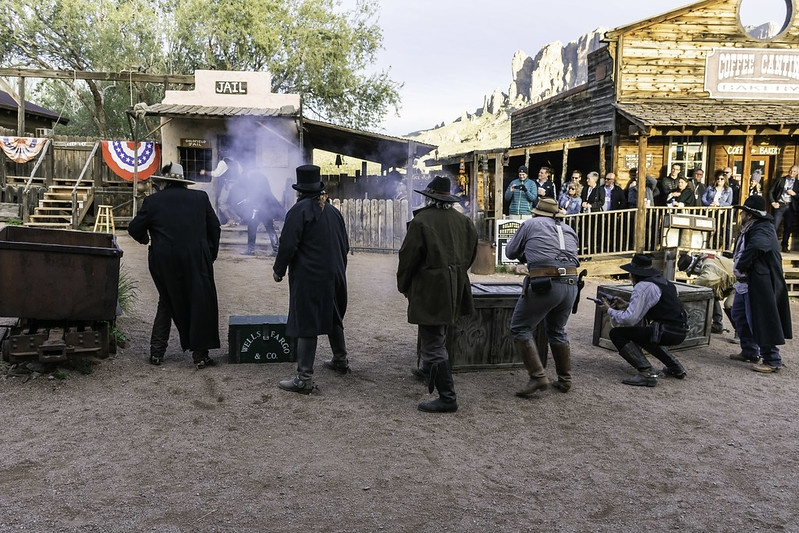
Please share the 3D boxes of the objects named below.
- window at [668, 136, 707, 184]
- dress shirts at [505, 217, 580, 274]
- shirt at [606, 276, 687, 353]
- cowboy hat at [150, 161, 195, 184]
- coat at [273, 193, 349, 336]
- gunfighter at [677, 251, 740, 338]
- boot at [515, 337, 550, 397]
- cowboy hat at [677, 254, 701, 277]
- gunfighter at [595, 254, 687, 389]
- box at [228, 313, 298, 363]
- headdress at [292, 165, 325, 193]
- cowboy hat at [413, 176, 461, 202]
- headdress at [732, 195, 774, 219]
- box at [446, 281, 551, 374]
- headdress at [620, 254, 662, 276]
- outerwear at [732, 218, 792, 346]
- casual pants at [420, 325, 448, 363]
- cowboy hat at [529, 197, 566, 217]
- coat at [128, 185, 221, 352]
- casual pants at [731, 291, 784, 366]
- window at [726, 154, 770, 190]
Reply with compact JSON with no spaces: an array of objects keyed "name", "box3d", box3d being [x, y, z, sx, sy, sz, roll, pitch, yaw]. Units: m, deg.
[{"name":"window","box3d":[7.745,-2.887,18.108,1.380,1.624,0.107,0,3,-3]},{"name":"dress shirts","box3d":[1.865,-0.184,9.008,0.765,0.441,0.835,11,-8,2]},{"name":"shirt","box3d":[3.504,0.669,9.564,1.031,1.089,1.073,-7,6,-29]},{"name":"cowboy hat","box3d":[-3.200,-1.244,9.212,0.543,0.216,0.560,-1,2,34]},{"name":"coat","box3d":[-1.120,0.006,8.587,0.967,1.763,0.494,0,5,-16]},{"name":"gunfighter","box3d":[5.368,0.485,11.460,1.048,1.452,1.148,-3,4,26]},{"name":"boot","box3d":[1.722,1.313,8.728,0.421,0.773,0.315,3,5,17]},{"name":"cowboy hat","box3d":[5.079,-0.020,11.669,0.248,0.357,0.464,19,7,-8]},{"name":"gunfighter","box3d":[3.421,0.732,9.500,1.185,1.791,1.056,0,7,11]},{"name":"box","box3d":[-1.913,1.239,9.482,0.998,0.629,0.617,0,-38,-11]},{"name":"headdress","box3d":[-1.195,-1.127,8.665,0.363,0.230,0.365,10,20,31]},{"name":"cowboy hat","box3d":[0.479,-0.950,8.392,0.367,0.167,0.413,11,11,-38]},{"name":"headdress","box3d":[5.324,-0.939,10.198,0.388,0.188,0.436,19,6,-6]},{"name":"box","box3d":[1.310,0.630,9.759,1.633,1.175,1.042,0,6,-3]},{"name":"headdress","box3d":[3.336,-0.001,9.404,0.370,0.173,0.377,2,10,-2]},{"name":"outerwear","box3d":[5.382,0.231,9.926,0.810,1.864,0.507,3,5,15]},{"name":"casual pants","box3d":[0.411,0.948,8.229,0.320,0.574,0.451,-4,-5,35]},{"name":"cowboy hat","box3d":[1.962,-0.760,8.836,0.296,0.115,0.290,-2,18,2]},{"name":"coat","box3d":[-3.042,-0.070,9.196,1.123,2.587,0.843,-2,5,-16]},{"name":"casual pants","box3d":[5.314,0.791,10.111,0.441,1.423,0.659,-4,4,-20]},{"name":"window","box3d":[9.258,-2.514,17.962,0.987,1.098,0.171,11,-8,-21]}]
